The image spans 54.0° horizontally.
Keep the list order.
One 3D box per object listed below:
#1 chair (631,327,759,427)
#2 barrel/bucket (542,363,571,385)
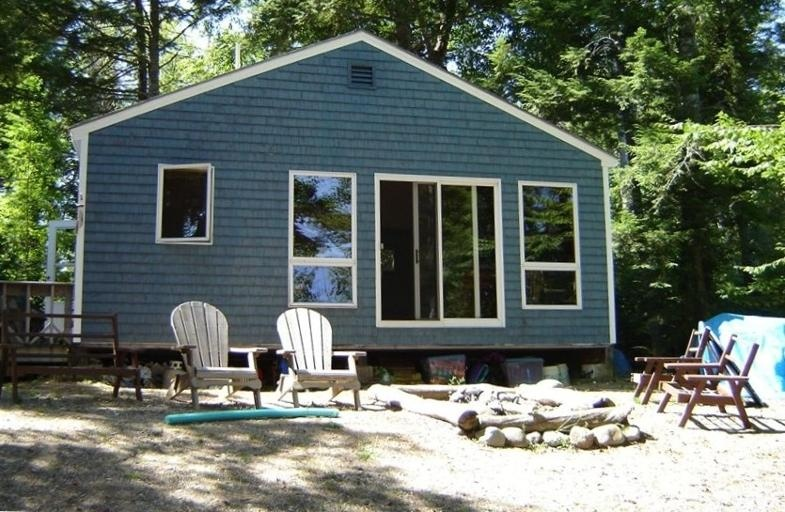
[{"bbox_3d":[4.838,1.873,12.278,1.706,1.465,1.829,-1,-4,16],"label":"chair"},{"bbox_3d":[3.105,2.242,14.618,0.419,0.342,0.418,-1,-6,0],"label":"barrel/bucket"}]
